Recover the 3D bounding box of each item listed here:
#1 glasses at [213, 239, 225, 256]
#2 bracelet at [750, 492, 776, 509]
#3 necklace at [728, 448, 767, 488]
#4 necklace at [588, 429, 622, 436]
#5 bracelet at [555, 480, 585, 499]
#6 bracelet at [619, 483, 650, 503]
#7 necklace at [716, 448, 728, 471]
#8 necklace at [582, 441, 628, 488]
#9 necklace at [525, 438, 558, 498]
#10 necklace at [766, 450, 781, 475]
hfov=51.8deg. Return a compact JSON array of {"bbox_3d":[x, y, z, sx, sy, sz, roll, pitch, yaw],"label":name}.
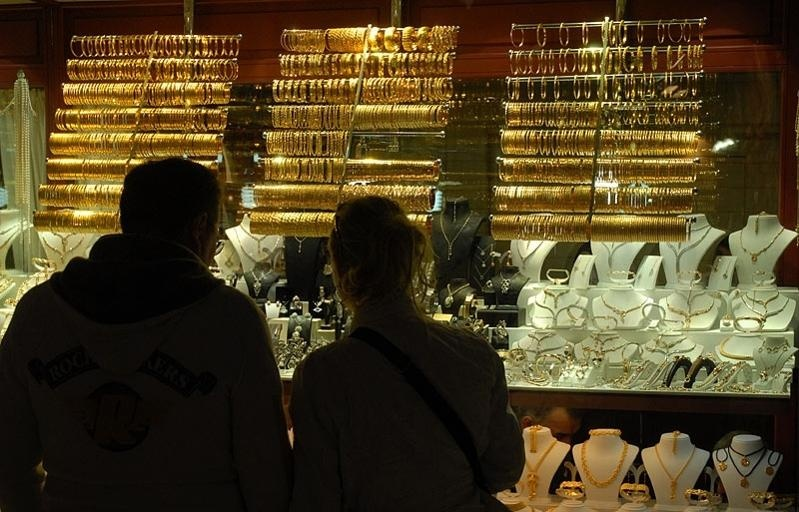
[{"bbox_3d":[-1.200,-0.062,5.467,0.062,0.090,0.034,0,-19,4],"label":"glasses"},{"bbox_3d":[2.037,1.360,4.601,0.098,0.068,0.103,0,0,10],"label":"bracelet"},{"bbox_3d":[1.980,1.199,4.656,0.202,0.206,0.022,2,-3,16],"label":"necklace"},{"bbox_3d":[1.192,1.012,4.756,0.096,0.026,0.108,1,-1,-8],"label":"necklace"},{"bbox_3d":[0.962,1.321,4.701,0.112,0.069,0.140,1,-5,-10],"label":"bracelet"},{"bbox_3d":[1.349,1.328,4.698,0.124,0.121,0.130,2,2,11],"label":"bracelet"},{"bbox_3d":[1.849,1.163,4.707,0.065,0.121,0.037,3,1,22],"label":"necklace"},{"bbox_3d":[1.157,1.149,4.687,0.208,0.278,0.111,0,-5,15],"label":"necklace"},{"bbox_3d":[0.817,1.234,4.739,0.148,0.295,0.024,2,1,6],"label":"necklace"},{"bbox_3d":[2.136,1.170,4.700,0.077,0.154,0.020,7,-17,3],"label":"necklace"}]
